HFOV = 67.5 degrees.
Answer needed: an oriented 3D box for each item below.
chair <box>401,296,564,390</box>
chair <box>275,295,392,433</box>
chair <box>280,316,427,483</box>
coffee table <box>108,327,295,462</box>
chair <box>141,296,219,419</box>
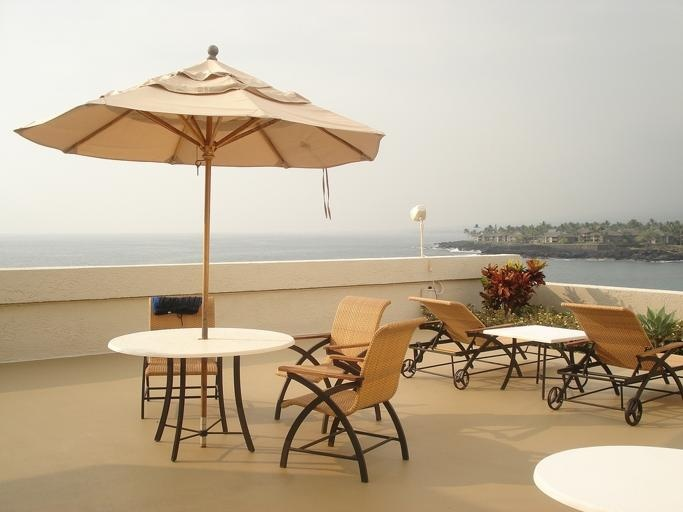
[{"bbox_3d":[1.432,0.975,6.178,1.983,0.932,1.135,-4,4,-32],"label":"chair"},{"bbox_3d":[0.071,0.843,4.818,1.285,1.190,1.000,3,-3,-43],"label":"chair"},{"bbox_3d":[0.089,0.997,4.152,1.232,1.297,1.076,1,-1,27],"label":"chair"},{"bbox_3d":[-1.038,1.076,3.953,1.275,0.664,1.188,-3,-14,8],"label":"coffee table"},{"bbox_3d":[-1.463,0.879,4.675,0.772,0.902,0.693,-3,13,-15],"label":"chair"}]
